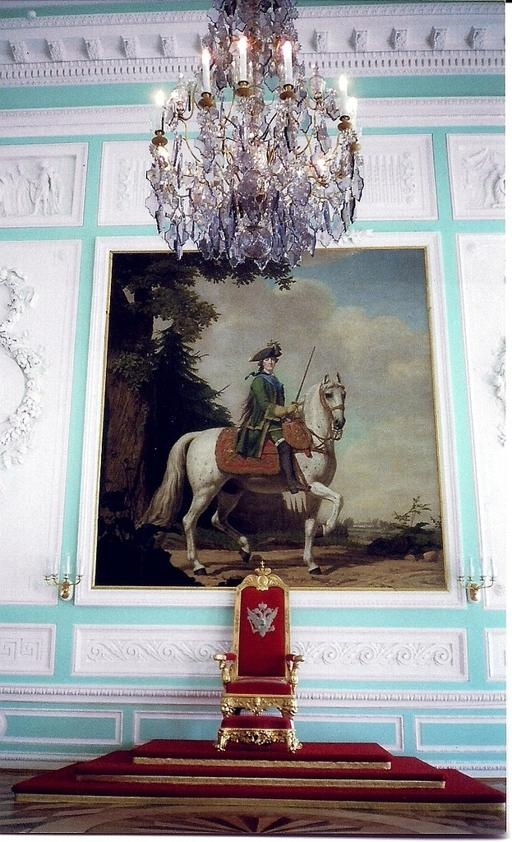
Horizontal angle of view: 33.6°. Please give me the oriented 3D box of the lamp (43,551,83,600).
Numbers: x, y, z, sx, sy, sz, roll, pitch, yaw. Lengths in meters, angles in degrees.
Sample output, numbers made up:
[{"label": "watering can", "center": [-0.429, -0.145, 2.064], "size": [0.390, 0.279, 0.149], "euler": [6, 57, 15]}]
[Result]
[{"label": "lamp", "center": [-1.364, 1.117, 6.031], "size": [0.331, 0.102, 0.339], "euler": [-2, 69, 2]}]
